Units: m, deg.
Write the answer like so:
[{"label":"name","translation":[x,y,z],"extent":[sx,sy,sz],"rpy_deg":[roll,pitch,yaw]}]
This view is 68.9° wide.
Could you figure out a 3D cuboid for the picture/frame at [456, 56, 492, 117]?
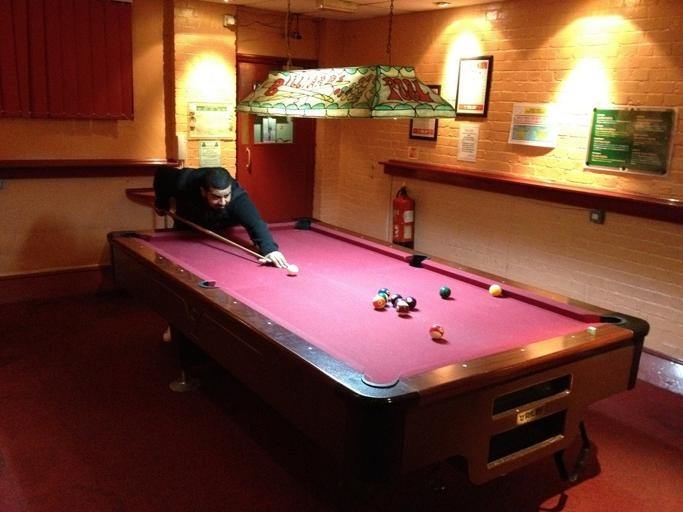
[{"label":"picture/frame","translation":[1.314,-1.675,4.951],"extent":[0.120,0.574,0.420],"rpy_deg":[-14,26,-34]}]

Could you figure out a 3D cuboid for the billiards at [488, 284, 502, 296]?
[{"label":"billiards","translation":[0.910,0.198,2.993],"extent":[0.069,0.063,0.067],"rpy_deg":[-26,12,-24]}]

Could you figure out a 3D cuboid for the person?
[{"label":"person","translation":[-0.991,-0.376,3.936],"extent":[0.627,0.605,1.457],"rpy_deg":[-12,33,-33]}]

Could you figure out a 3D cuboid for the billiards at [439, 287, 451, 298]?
[{"label":"billiards","translation":[0.602,0.217,2.903],"extent":[0.063,0.061,0.057],"rpy_deg":[-23,59,13]}]

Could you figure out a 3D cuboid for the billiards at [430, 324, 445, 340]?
[{"label":"billiards","translation":[0.456,0.369,2.382],"extent":[0.071,0.066,0.080],"rpy_deg":[-1,-15,11]}]

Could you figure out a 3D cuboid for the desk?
[{"label":"desk","translation":[0.123,0.416,2.987],"extent":[1.649,0.561,2.534],"rpy_deg":[-16,26,-40]}]

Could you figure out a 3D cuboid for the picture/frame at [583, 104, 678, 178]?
[{"label":"picture/frame","translation":[2.304,-0.909,3.922],"extent":[0.087,0.458,0.609],"rpy_deg":[-3,16,-36]}]
